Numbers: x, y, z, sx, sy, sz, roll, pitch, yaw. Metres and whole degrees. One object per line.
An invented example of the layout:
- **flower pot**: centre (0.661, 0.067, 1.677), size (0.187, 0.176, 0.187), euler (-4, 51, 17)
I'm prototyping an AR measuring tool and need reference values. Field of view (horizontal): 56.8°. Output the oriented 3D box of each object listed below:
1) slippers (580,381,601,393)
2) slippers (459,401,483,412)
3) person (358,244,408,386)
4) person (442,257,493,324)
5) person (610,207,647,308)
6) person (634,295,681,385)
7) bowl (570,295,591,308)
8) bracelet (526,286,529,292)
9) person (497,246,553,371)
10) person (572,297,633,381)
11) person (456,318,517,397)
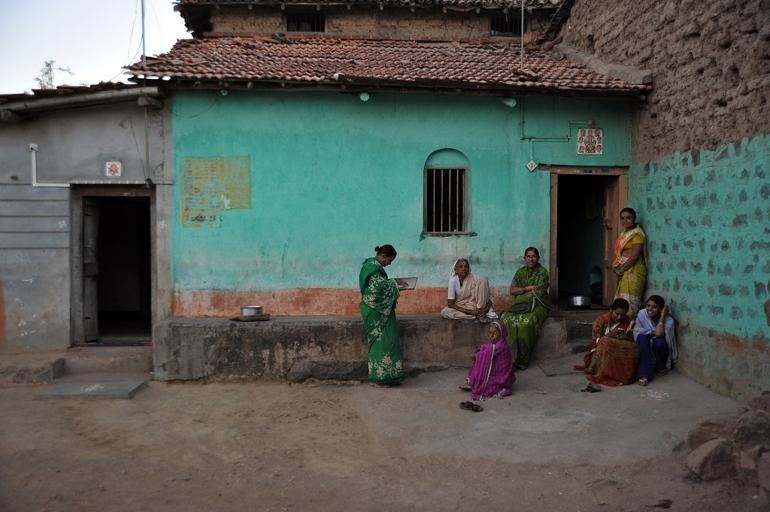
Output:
- **slippers**: centre (3.356, 2.139, 11.553), size (0.329, 0.111, 0.304), euler (0, 2, 15)
- **slippers**: centre (1.364, 2.386, 11.222), size (0.230, 0.075, 0.156), euler (3, 0, 17)
- **person**: centre (-0.058, 1.023, 12.170), size (0.725, 2.394, 0.443), euler (0, 2, 1)
- **person**: centre (1.522, 0.597, 12.768), size (0.932, 1.088, 0.735), euler (-1, 7, 12)
- **person**: centre (4.354, 0.083, 12.576), size (0.573, 1.838, 0.585), euler (0, 2, 19)
- **person**: centre (4.453, 1.376, 11.861), size (0.968, 1.395, 0.473), euler (-2, 3, -32)
- **bowl**: centre (3.705, 0.879, 13.458), size (0.248, 0.157, 0.249), euler (0, -4, 0)
- **bracelet**: centre (2.555, 0.602, 12.691), size (0.056, 0.078, 0.020), euler (-10, -18, 23)
- **person**: centre (2.492, 0.921, 12.695), size (0.810, 2.095, 0.456), euler (-2, 3, -38)
- **person**: centre (3.747, 1.419, 11.819), size (0.872, 1.370, 0.678), euler (0, 2, 17)
- **person**: centre (1.740, 1.718, 11.591), size (0.724, 1.233, 0.366), euler (0, 2, 8)
